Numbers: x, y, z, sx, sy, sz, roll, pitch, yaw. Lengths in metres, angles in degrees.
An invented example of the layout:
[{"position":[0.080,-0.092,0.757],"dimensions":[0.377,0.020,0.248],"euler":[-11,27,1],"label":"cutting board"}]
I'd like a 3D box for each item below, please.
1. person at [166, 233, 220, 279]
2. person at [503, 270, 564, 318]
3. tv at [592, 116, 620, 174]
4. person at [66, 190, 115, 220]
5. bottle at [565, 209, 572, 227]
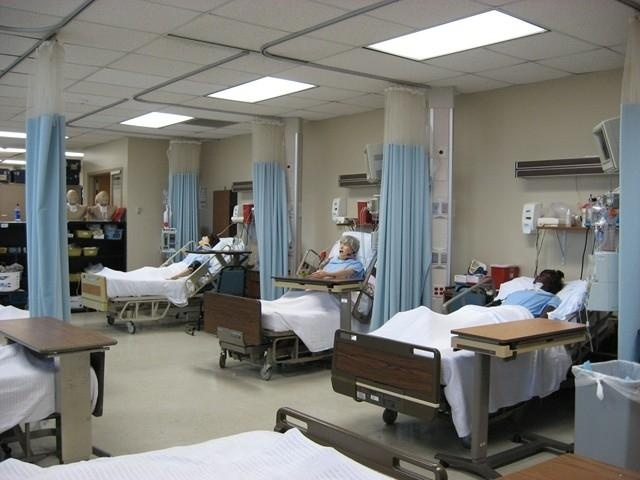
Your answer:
[{"position":[-1.865,0.256,7.739],"dimensions":[0.467,0.537,0.878],"euler":[3,10,31],"label":"person"},{"position":[1.953,0.507,4.537],"dimensions":[0.703,0.323,0.369],"euler":[-10,6,-39],"label":"person"},{"position":[2.372,-0.781,4.097],"dimensions":[0.182,0.414,0.407],"euler":[2,3,20],"label":"tv"},{"position":[-4.250,-0.657,9.266],"dimensions":[0.903,0.562,0.370],"euler":[-1,3,-40],"label":"person"},{"position":[2.535,-0.222,5.078],"dimensions":[0.066,0.154,0.112],"euler":[3,3,41],"label":"bottle"}]
